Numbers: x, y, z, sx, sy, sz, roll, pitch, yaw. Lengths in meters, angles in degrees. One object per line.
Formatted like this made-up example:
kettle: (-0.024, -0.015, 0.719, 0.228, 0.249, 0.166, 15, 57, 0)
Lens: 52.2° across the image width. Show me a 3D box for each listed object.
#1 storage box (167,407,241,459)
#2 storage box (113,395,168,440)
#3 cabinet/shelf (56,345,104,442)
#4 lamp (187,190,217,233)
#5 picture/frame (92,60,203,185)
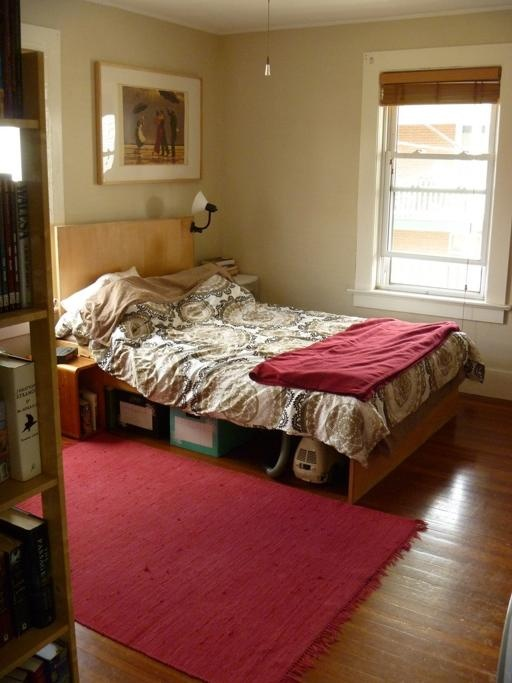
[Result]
storage box: (-0.281, 0.495, 3.111, 0.392, 0.225, 0.399, 7, 6, 38)
storage box: (-0.698, 0.430, 3.299, 0.342, 0.228, 0.209, 11, 16, 28)
cabinet/shelf: (-1.115, 0.353, 3.249, 0.310, 0.404, 0.360, -6, 8, -35)
lamp: (-0.429, -1.073, 4.295, 0.205, 0.321, 0.149, 13, 18, -15)
picture/frame: (-0.838, -1.644, 3.883, 0.043, 0.785, 1.119, 13, 21, 36)
